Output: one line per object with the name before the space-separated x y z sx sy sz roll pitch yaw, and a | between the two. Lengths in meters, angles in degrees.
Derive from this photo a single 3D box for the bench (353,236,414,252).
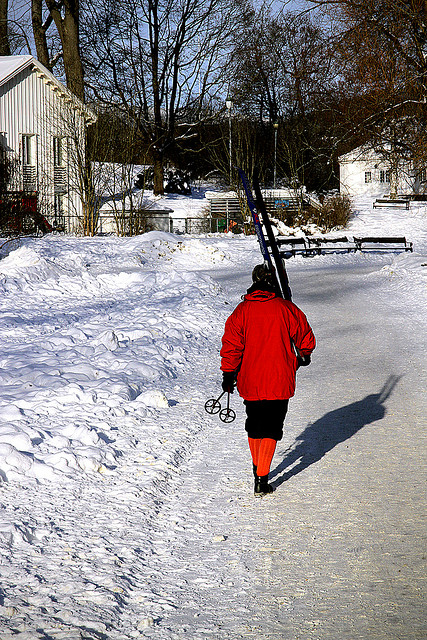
bench | 6.076 -2.697 32.670 1.810 0.468 2.228 3 9 20

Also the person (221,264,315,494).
person | 0.357 0.390 6.370 0.555 1.531 0.483 -6 10 -39

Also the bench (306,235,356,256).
bench | 4.115 -2.577 31.799 1.448 0.540 3.711 3 8 18

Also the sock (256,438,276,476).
sock | 0.346 0.924 6.186 0.100 0.228 0.155 3 8 18

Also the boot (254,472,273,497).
boot | 0.341 1.107 6.180 0.151 0.158 0.101 -2 8 -14

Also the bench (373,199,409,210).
bench | 10.822 -7.055 55.977 1.787 0.553 2.840 -3 9 -23

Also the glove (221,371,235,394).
glove | 0.105 0.441 6.358 0.031 0.121 0.129 2 15 11
